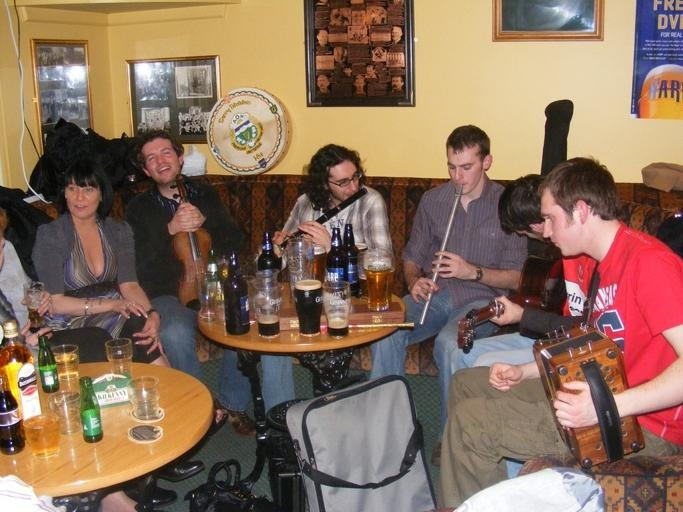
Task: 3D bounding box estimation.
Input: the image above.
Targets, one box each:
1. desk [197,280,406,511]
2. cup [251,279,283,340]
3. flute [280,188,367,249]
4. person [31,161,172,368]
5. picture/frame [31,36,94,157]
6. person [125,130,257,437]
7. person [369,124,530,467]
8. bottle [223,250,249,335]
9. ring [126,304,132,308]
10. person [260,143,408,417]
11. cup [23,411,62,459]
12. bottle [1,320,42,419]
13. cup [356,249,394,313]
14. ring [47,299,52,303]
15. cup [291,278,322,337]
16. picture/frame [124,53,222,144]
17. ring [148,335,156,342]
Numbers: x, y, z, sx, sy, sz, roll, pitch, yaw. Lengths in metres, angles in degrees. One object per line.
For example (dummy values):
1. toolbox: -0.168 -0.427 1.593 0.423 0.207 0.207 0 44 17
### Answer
1. desk: -0.205 0.600 2.694 0.573 0.693 0.548 -4 14 -25
2. cup: -0.326 0.207 2.614 0.113 0.278 0.209 -4 14 -9
3. flute: -0.082 -0.204 3.310 0.571 0.083 0.084 -37 34 3
4. person: -1.275 0.097 3.243 0.645 1.221 0.613 -7 19 -31
5. picture/frame: -2.127 -1.252 4.566 0.038 0.796 0.458 10 16 34
6. person: -0.827 0.007 3.577 0.665 1.961 0.689 -7 18 -32
7. person: 0.650 0.100 3.298 0.732 2.033 0.754 2 13 -2
8. bottle: -0.465 0.160 2.608 0.107 0.351 0.124 1 13 -10
9. ring: -1.120 0.263 3.141 0.017 0.017 0.004 0 -15 -15
10. person: -0.037 0.157 3.292 0.684 1.478 0.655 4 14 11
11. cup: -1.006 0.597 1.992 0.108 0.112 0.110 -2 14 0
12. bottle: -1.139 0.405 2.123 0.162 0.396 0.172 8 12 -2
13. cup: 0.157 0.101 2.751 0.140 0.280 0.162 2 13 8
14. ring: -1.444 0.220 2.943 0.006 0.023 0.017 -7 -22 -4
15. cup: -0.142 0.230 2.574 0.111 0.252 0.101 -3 14 -5
16. picture/frame: -1.339 -1.278 4.791 0.796 0.688 0.035 6 17 23
17. ring: -0.996 0.430 3.112 0.034 0.036 0.011 -2 6 -15
